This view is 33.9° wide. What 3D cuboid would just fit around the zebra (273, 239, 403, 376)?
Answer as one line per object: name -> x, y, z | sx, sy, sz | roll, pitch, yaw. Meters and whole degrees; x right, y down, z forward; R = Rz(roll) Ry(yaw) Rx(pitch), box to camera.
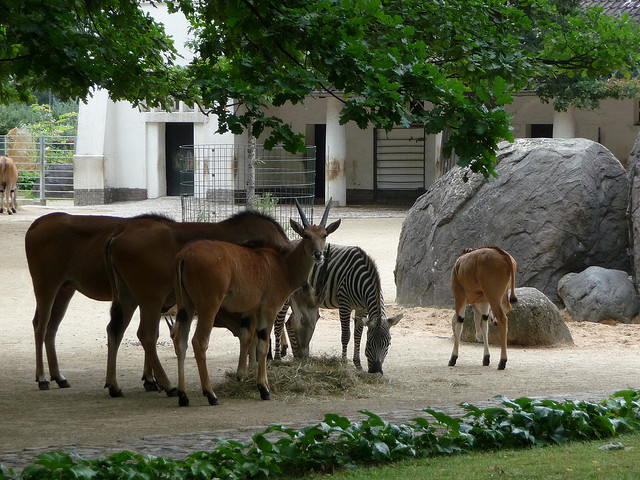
zebra -> 0.334, 0.875, 14.222 | 1.662, 1.717, 0.998 | 0, 0, 35
